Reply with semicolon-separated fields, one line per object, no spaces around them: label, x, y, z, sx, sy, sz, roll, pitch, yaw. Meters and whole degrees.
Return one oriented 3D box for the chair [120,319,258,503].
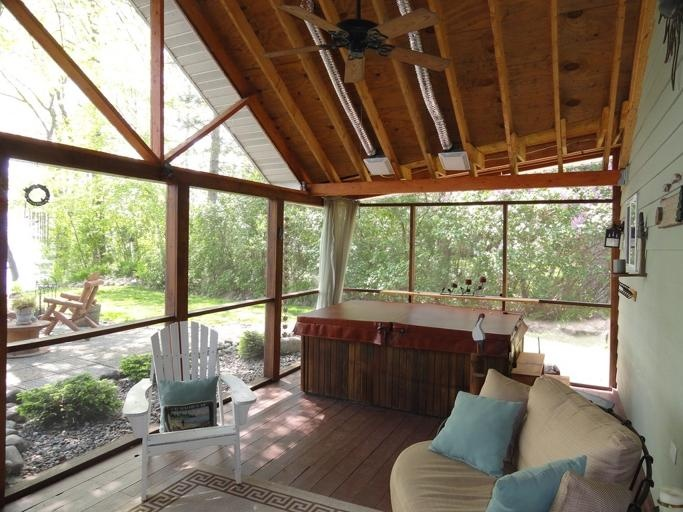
chair;-1.363;1.258;3.933;1.040;0.918;1.188;0;3;-25

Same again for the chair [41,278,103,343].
chair;-2.448;0.426;4.056;0.502;0.498;0.411;-1;-5;-15
